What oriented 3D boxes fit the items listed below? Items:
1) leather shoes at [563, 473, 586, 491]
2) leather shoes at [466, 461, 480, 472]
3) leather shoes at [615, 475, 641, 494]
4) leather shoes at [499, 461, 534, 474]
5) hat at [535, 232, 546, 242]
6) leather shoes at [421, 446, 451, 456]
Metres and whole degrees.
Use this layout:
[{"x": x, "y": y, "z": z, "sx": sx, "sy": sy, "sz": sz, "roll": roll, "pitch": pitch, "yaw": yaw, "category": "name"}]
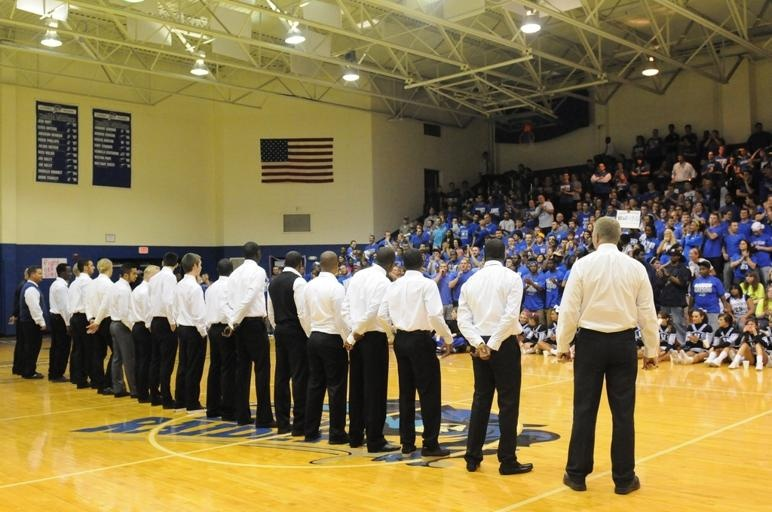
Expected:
[{"x": 2.691, "y": 3.236, "z": 10.824, "sx": 0.146, "sy": 0.158, "sz": 0.384, "roll": 0, "pitch": 1, "yaw": -9, "category": "leather shoes"}, {"x": 1.289, "y": 3.141, "z": 11.318, "sx": 0.182, "sy": 0.141, "sz": 0.097, "roll": -1, "pitch": 9, "yaw": 5, "category": "leather shoes"}, {"x": 3.460, "y": 3.259, "z": 10.800, "sx": 0.166, "sy": 0.182, "sz": 0.444, "roll": -3, "pitch": -1, "yaw": 44, "category": "leather shoes"}, {"x": 1.919, "y": 3.163, "z": 11.318, "sx": 0.520, "sy": 0.201, "sz": 0.187, "roll": 0, "pitch": -7, "yaw": -11, "category": "leather shoes"}, {"x": 4.508, "y": -0.545, "z": 22.195, "sx": 0.270, "sy": 0.183, "sz": 0.386, "roll": 3, "pitch": -11, "yaw": 24, "category": "hat"}, {"x": 0.760, "y": 3.056, "z": 11.864, "sx": 0.486, "sy": 0.200, "sz": 0.162, "roll": -4, "pitch": -5, "yaw": -2, "category": "leather shoes"}]
